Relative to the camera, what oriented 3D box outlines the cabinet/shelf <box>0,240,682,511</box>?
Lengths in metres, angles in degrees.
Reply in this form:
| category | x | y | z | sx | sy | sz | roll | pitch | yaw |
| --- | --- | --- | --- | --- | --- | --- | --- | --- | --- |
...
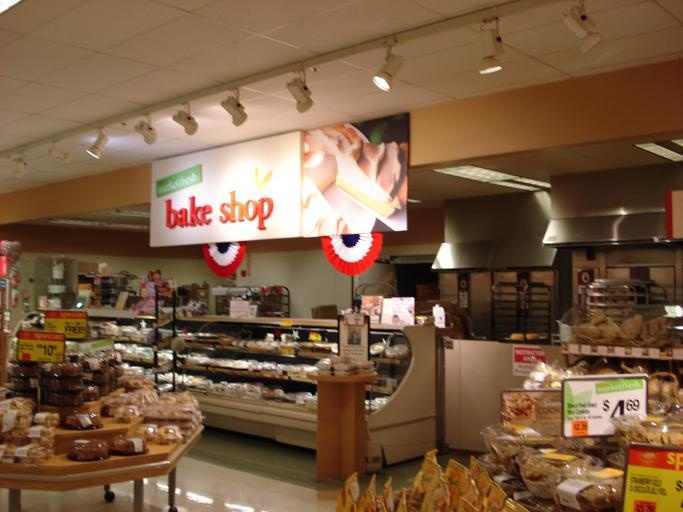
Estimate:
| category | x | y | z | sx | sy | sz | roll | pitch | yaw |
| --- | --- | --- | --- | --- | --- | --- | --- | --- | --- |
| cabinet/shelf | 0.060 | 1.155 | 5.521 | 4.538 | 1.124 | 3.171 | 2 | -2 | -40 |
